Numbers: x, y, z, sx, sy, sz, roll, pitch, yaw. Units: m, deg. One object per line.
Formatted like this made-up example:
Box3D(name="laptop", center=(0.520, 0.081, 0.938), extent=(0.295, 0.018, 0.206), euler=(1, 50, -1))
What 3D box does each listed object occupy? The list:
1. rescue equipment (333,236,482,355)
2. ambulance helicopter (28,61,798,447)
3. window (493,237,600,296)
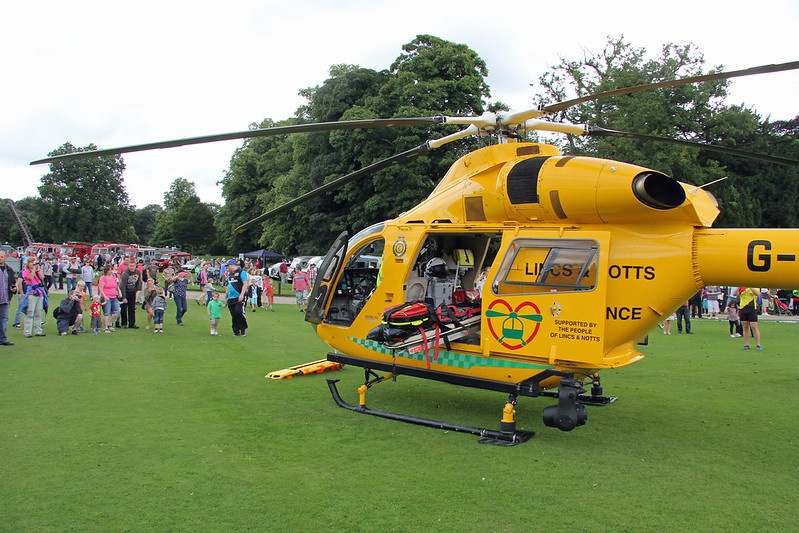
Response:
Box3D(name="rescue equipment", center=(-0.118, 0.455, 9.499), extent=(2.813, 1.026, 2.058), euler=(6, 9, 35))
Box3D(name="ambulance helicopter", center=(0.555, 0.009, 9.832), extent=(9.439, 2.680, 8.270), euler=(1, 0, 37))
Box3D(name="window", center=(2.156, 0.045, 8.102), extent=(0.054, 0.947, 1.957), euler=(14, -7, -35))
